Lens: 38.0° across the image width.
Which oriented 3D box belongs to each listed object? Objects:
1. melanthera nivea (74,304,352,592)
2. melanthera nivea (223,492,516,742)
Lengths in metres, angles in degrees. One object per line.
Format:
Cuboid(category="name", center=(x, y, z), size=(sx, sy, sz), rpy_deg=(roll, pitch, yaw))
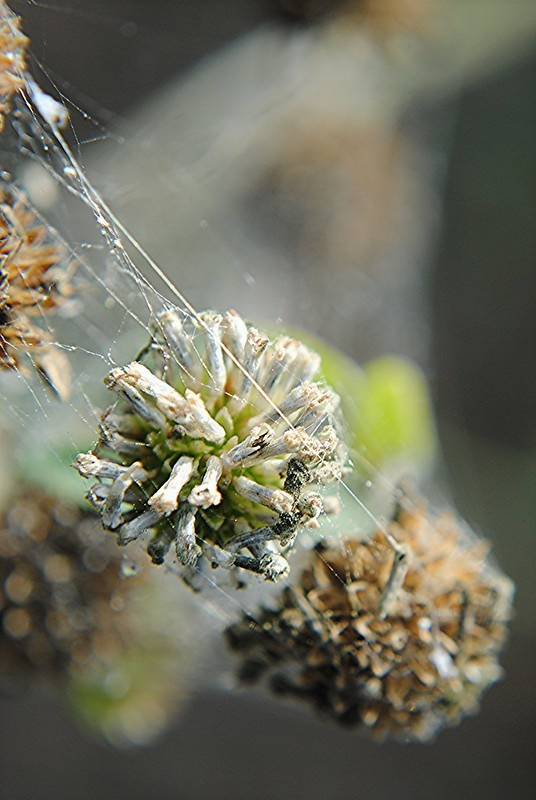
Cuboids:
Cuboid(category="melanthera nivea", center=(-0.081, 0.057, 0.947), size=(0.294, 0.220, 0.325), rpy_deg=(-48, 32, -13))
Cuboid(category="melanthera nivea", center=(0.117, 0.219, 0.968), size=(0.368, 0.131, 0.317), rpy_deg=(8, 68, 6))
